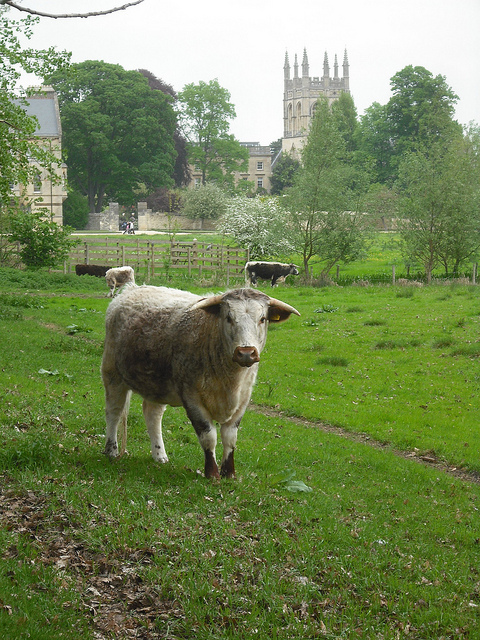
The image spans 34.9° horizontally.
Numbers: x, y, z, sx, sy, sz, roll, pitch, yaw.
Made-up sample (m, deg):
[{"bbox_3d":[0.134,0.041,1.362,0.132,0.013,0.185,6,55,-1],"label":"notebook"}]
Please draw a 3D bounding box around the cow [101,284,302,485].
[{"bbox_3d":[-0.581,0.749,8.993,1.194,2.133,3.498,3,-1,-36],"label":"cow"}]
